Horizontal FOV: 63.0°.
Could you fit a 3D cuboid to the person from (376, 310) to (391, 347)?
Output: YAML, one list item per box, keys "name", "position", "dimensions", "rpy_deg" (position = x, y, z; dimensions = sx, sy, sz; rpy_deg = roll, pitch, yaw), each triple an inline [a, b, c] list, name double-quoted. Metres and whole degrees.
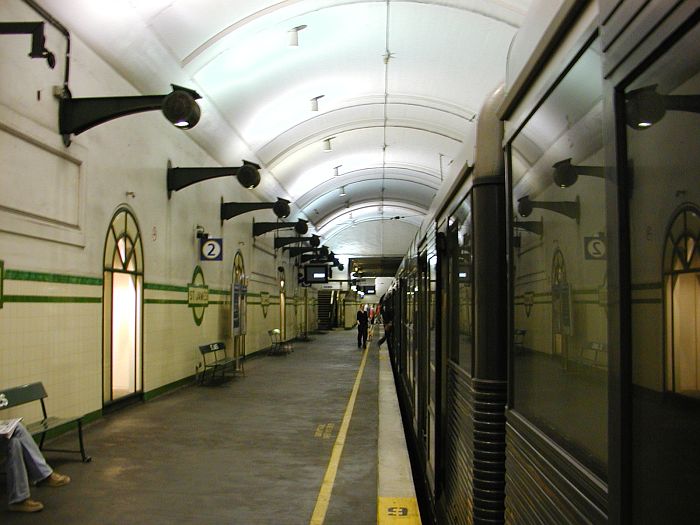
- name: "person"
  position: [1.747, 3.073, 27.116]
  dimensions: [0.295, 1.581, 1.357]
  rpy_deg: [7, -10, -23]

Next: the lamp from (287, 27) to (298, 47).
- name: "lamp"
  position: [-1.228, -4.874, 12.310]
  dimensions: [0.155, 0.313, 0.313]
  rpy_deg: [2, -3, -29]
